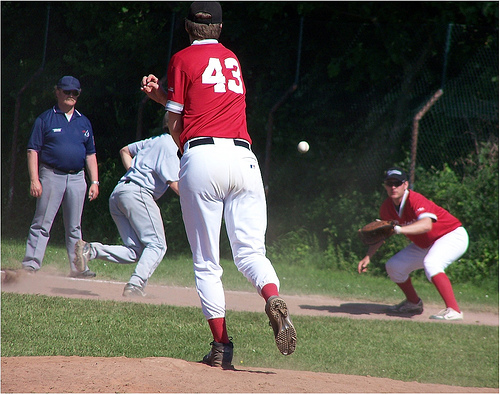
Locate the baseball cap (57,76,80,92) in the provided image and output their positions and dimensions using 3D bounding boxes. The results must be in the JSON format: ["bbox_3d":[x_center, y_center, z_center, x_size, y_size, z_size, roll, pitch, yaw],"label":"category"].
[{"bbox_3d":[-2.712,-1.672,11.797,0.318,0.216,0.209,2,7,-14],"label":"baseball cap"}]

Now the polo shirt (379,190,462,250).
[{"bbox_3d":[2.522,0.275,11.497,0.916,0.950,0.917,-1,10,-34],"label":"polo shirt"}]

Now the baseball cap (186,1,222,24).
[{"bbox_3d":[-0.475,-2.093,8.930,0.303,0.268,0.529,5,18,1],"label":"baseball cap"}]

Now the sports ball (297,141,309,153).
[{"bbox_3d":[1.031,-0.929,15.136,0.222,0.226,0.300,4,7,3],"label":"sports ball"}]

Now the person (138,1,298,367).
[{"bbox_3d":[-0.253,-0.132,8.765,1.452,3.994,0.527,5,7,18],"label":"person"}]

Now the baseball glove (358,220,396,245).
[{"bbox_3d":[1.832,0.519,11.369,0.460,0.294,0.165,-13,-28,-3],"label":"baseball glove"}]

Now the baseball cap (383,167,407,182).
[{"bbox_3d":[2.133,-0.322,11.480,0.287,0.184,0.489,5,8,7],"label":"baseball cap"}]

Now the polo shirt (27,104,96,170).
[{"bbox_3d":[-2.880,-0.880,12.195,1.233,1.214,0.650,3,-8,-37],"label":"polo shirt"}]
